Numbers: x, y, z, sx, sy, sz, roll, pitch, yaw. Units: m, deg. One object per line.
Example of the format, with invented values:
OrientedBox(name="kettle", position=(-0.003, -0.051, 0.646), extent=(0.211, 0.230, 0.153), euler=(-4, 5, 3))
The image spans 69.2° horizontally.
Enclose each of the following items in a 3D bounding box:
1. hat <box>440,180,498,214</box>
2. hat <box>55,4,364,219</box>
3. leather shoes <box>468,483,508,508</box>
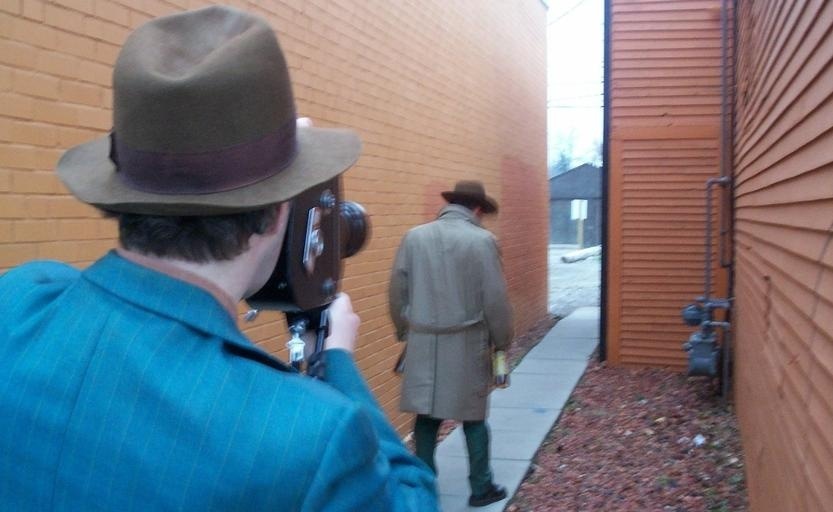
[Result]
OrientedBox(name="hat", position=(0.496, -0.533, 5.122), extent=(0.331, 0.144, 0.381), euler=(8, -13, 35))
OrientedBox(name="hat", position=(-0.541, -0.334, 1.719), extent=(0.714, 0.339, 0.639), euler=(2, 14, 4))
OrientedBox(name="leather shoes", position=(0.565, 1.876, 4.735), extent=(0.291, 0.109, 0.152), euler=(-8, 5, -28))
